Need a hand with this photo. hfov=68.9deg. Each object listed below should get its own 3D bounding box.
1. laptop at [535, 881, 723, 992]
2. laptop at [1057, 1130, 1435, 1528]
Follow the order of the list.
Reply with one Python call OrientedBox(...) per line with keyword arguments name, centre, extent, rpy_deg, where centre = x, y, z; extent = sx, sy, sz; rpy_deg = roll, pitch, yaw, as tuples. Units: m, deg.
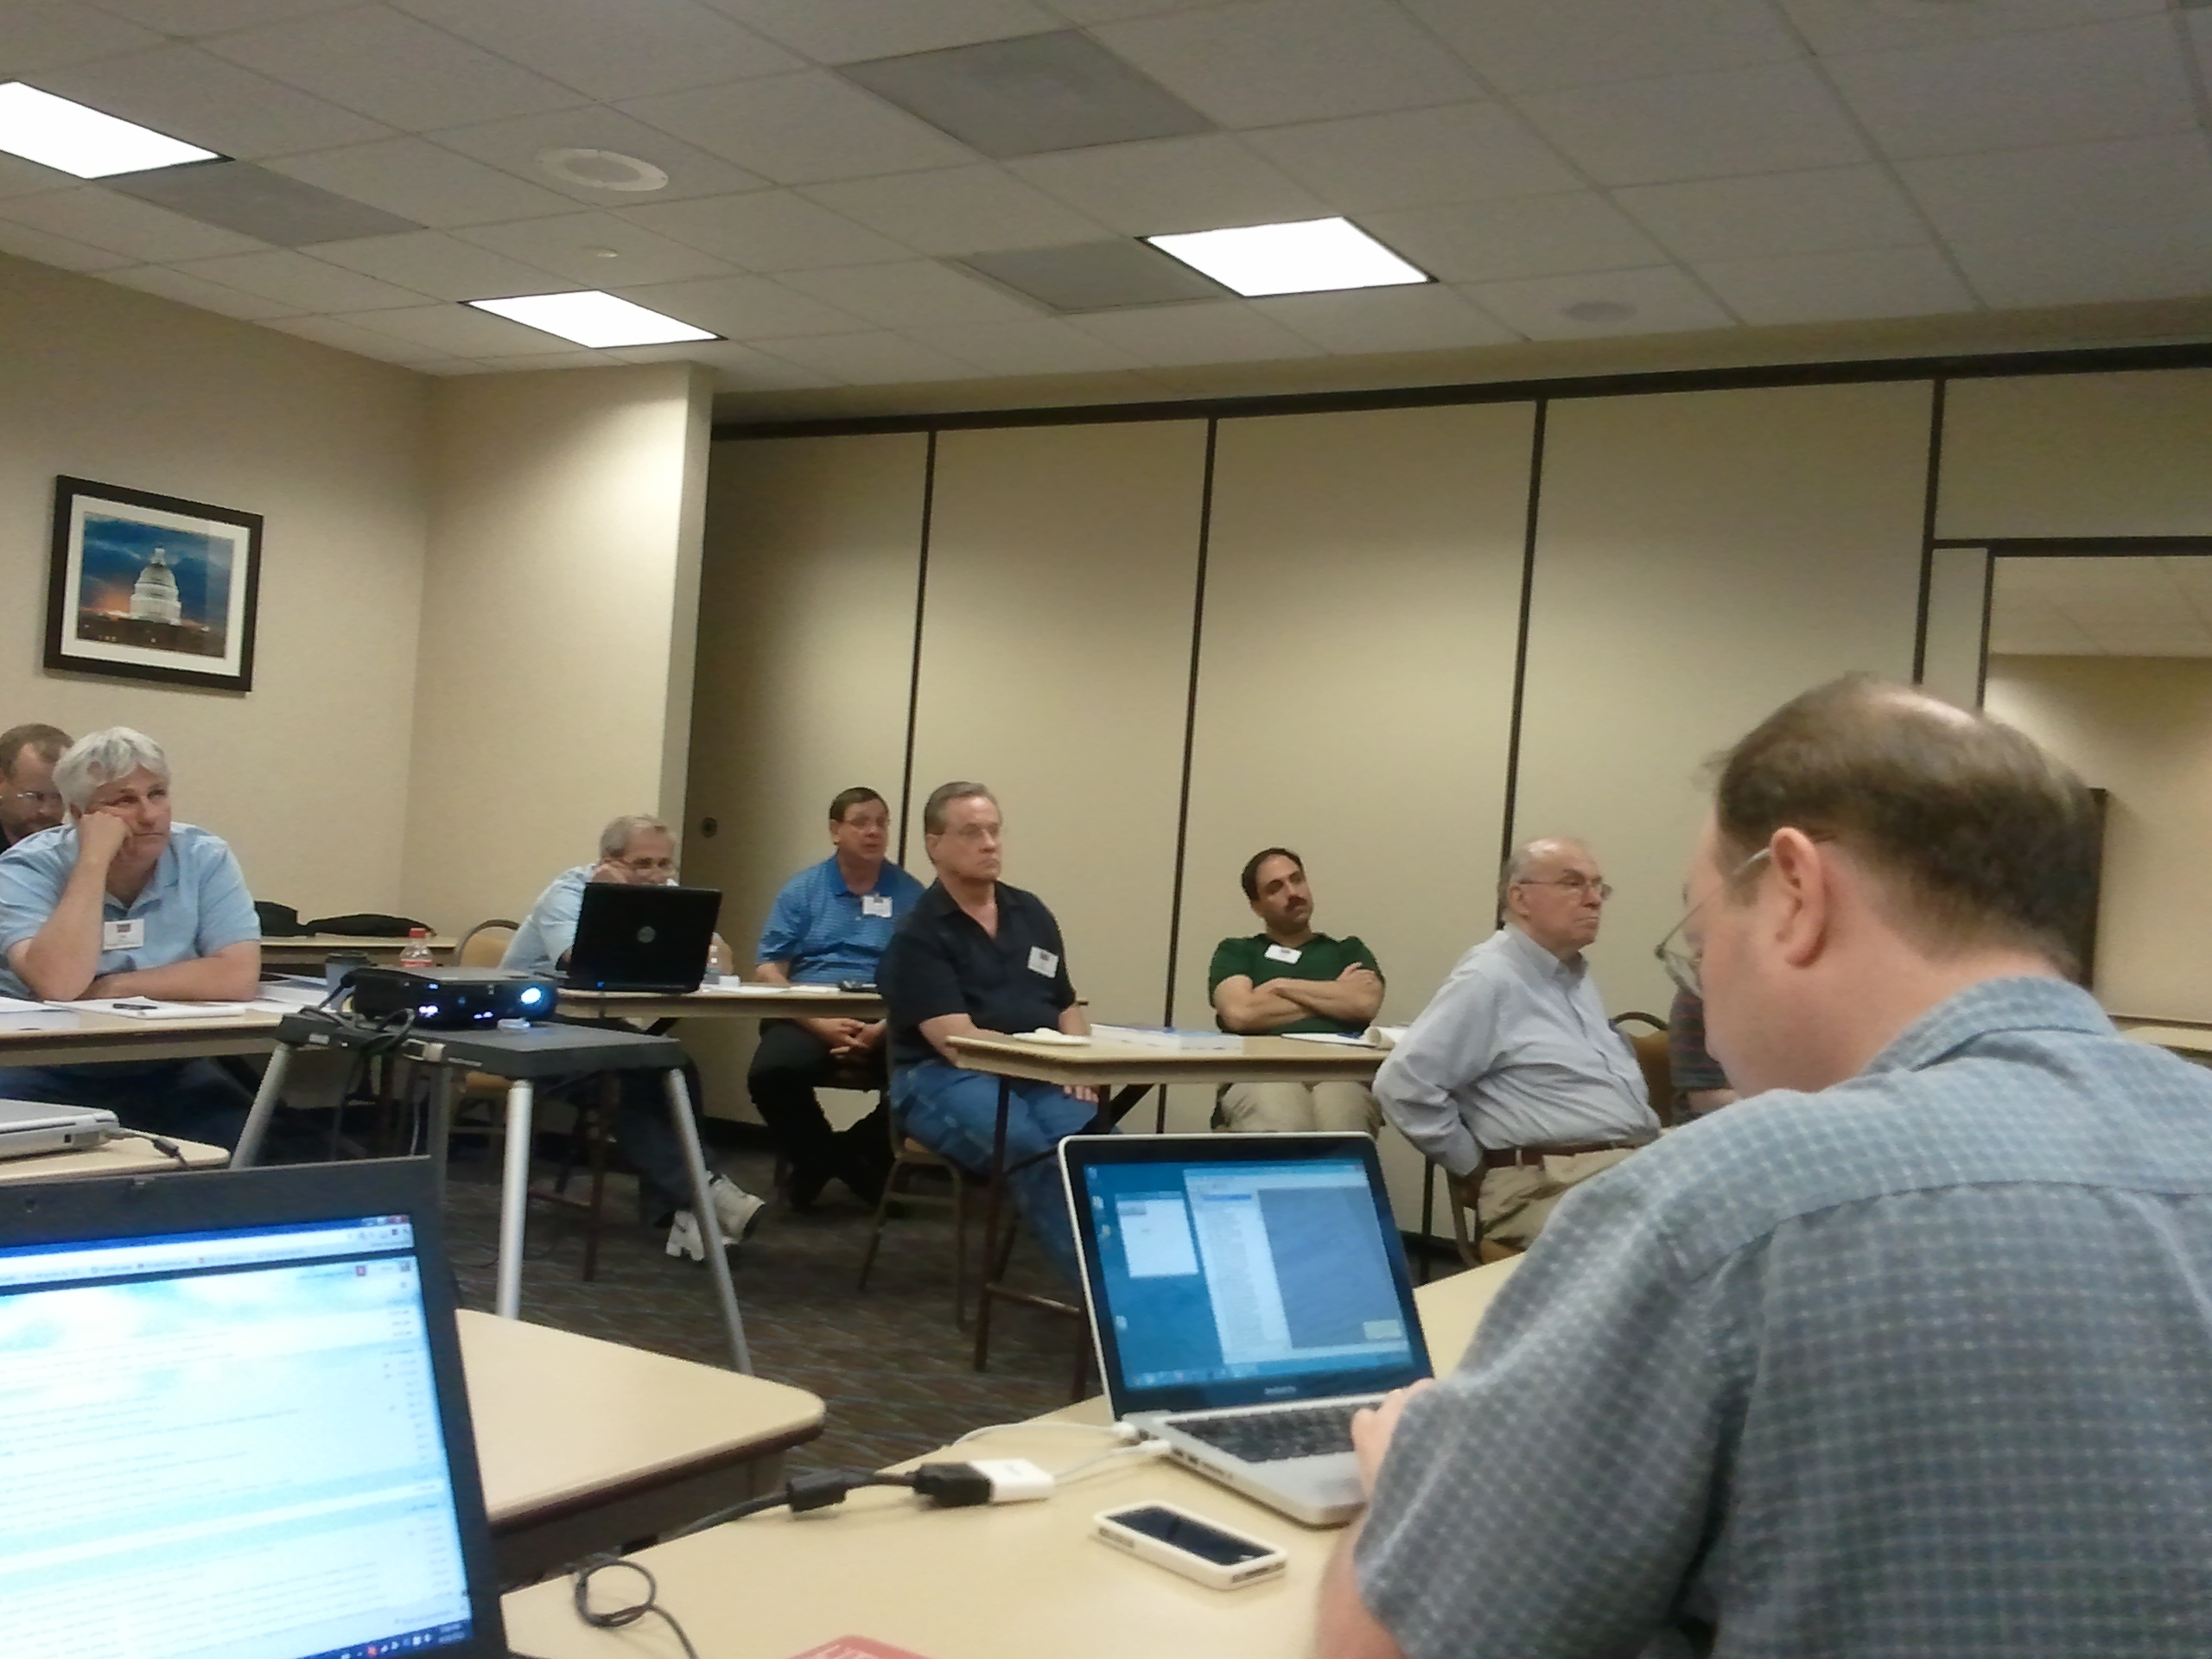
OrientedBox(name="laptop", centre=(-1.366, 0.313, 4.876), extent=(0.492, 0.327, 0.339), rpy_deg=(2, 4, -30))
OrientedBox(name="laptop", centre=(0.125, 0.460, 1.722), extent=(0.385, 0.226, 0.335), rpy_deg=(5, 12, -40))
